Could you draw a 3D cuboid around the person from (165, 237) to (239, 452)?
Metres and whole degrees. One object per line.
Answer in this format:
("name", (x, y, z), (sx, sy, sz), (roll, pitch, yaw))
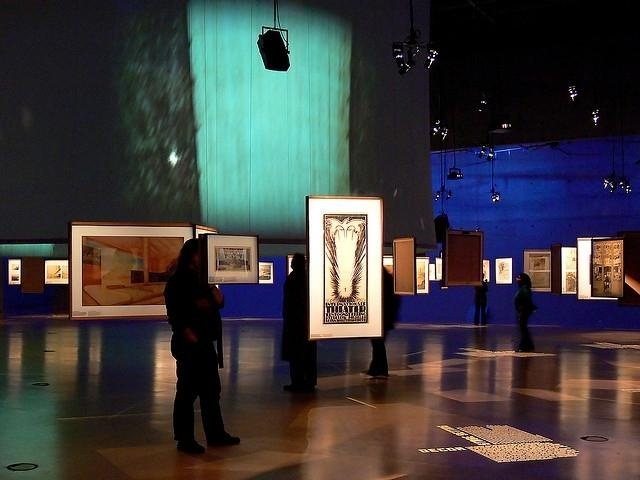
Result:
("person", (-1.519, 1.285, 6.969), (0.780, 2.582, 0.354), (1, -3, -19))

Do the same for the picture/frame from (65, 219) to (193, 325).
("picture/frame", (-2.938, 0.467, 8.704), (1.707, 1.419, 0.128), (0, -2, -13))

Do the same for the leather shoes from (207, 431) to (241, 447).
("leather shoes", (-1.207, 2.495, 7.113), (0.457, 0.203, 0.162), (1, -3, -12))

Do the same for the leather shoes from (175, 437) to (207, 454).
("leather shoes", (-1.583, 2.493, 6.874), (0.377, 0.171, 0.146), (2, -2, 12))
